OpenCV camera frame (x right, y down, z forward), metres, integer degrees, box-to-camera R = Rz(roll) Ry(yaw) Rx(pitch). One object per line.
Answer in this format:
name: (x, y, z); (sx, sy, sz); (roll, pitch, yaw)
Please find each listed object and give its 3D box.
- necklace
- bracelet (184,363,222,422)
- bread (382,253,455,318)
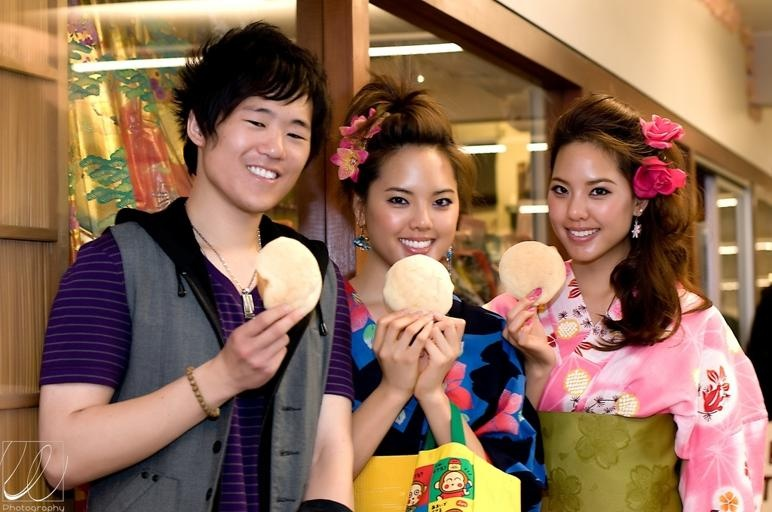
necklace: (-0.535, 0.049, 2.250); (0.085, 0.299, 0.303); (-21, 2, 24)
bracelet: (-0.566, 0.428, 2.022); (0.042, 0.150, 0.117); (-31, 9, -17)
bread: (0.123, 0.112, 2.490); (0.265, 0.231, 0.115); (-1, 1, -2)
